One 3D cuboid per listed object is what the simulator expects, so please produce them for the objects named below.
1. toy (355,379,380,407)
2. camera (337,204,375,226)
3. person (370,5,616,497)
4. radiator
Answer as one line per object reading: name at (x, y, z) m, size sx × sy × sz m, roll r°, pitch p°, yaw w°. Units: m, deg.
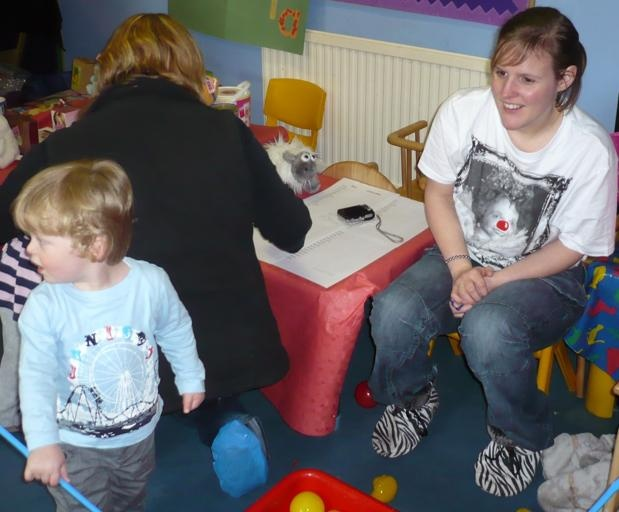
toy at (0.228, 0.557, 2.104) m, size 0.093 × 0.108 × 0.046 m, roll 25°, pitch 9°, yaw 3°
camera at (0.165, -0.158, 1.868) m, size 0.088 × 0.030 × 0.072 m, roll -15°, pitch 32°, yaw -27°
person at (0.596, 0.020, 1.716) m, size 0.668 × 1.453 × 0.576 m, roll 18°, pitch 32°, yaw 25°
radiator at (0.345, -0.757, 2.627) m, size 0.884 × 1.026 × 0.047 m, roll 23°, pitch 38°, yaw 30°
